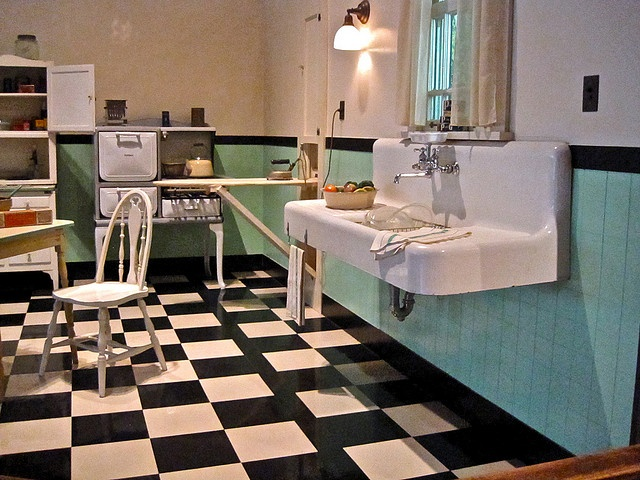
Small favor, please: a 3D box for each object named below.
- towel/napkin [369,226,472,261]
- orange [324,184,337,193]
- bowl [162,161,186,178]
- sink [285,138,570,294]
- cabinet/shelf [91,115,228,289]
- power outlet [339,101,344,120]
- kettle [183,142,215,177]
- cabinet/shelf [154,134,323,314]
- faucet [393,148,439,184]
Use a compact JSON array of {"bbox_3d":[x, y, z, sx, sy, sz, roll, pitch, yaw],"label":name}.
[{"bbox_3d":[0.458,0.024,2.192,0.438,0.118,0.351,-8,14,-41],"label":"towel/napkin"},{"bbox_3d":[0.064,-0.301,2.952,0.045,0.047,0.060,-4,16,-11],"label":"orange"},{"bbox_3d":[-1.424,-0.678,4.950,0.166,0.103,0.167,-1,5,0],"label":"bowl"},{"bbox_3d":[0.483,-0.183,2.466,0.751,0.595,1.154,-3,11,-24],"label":"sink"},{"bbox_3d":[-1.640,-0.389,5.201,1.248,1.641,0.991,-4,11,-26],"label":"cabinet/shelf"},{"bbox_3d":[0.163,-1.000,3.935,0.024,0.139,0.094,-2,10,-15],"label":"power outlet"},{"bbox_3d":[-1.227,-0.814,5.241,0.365,0.395,0.366,0,2,-5],"label":"kettle"},{"bbox_3d":[-0.844,0.019,4.544,1.539,1.441,0.474,-8,16,-6],"label":"cabinet/shelf"},{"bbox_3d":[0.500,-0.394,2.679,0.224,0.180,0.191,1,-4,30],"label":"faucet"}]
